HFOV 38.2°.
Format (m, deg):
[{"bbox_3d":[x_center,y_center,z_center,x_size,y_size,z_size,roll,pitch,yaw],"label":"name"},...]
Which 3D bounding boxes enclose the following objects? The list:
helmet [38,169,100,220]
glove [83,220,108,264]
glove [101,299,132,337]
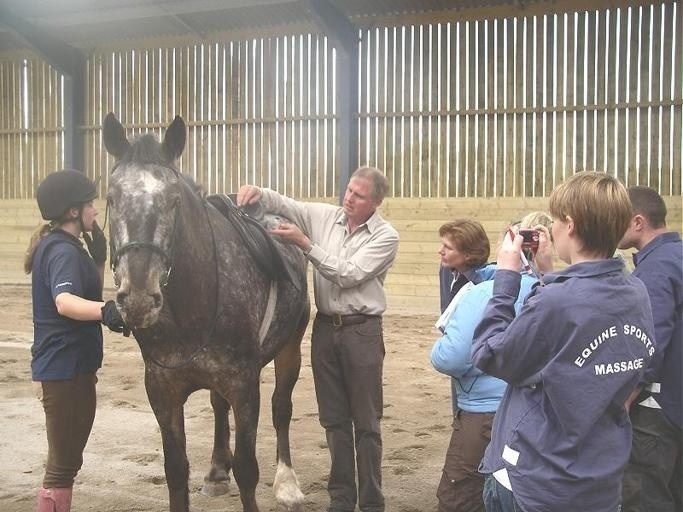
[{"bbox_3d":[-2.656,-0.597,9.579,0.516,0.465,0.405,-9,5,-33],"label":"helmet"},{"bbox_3d":[-2.461,-0.116,9.773,0.111,0.413,0.269,-10,-3,7],"label":"glove"},{"bbox_3d":[-2.076,0.563,9.062,0.239,0.315,0.426,-1,3,-22],"label":"glove"}]
